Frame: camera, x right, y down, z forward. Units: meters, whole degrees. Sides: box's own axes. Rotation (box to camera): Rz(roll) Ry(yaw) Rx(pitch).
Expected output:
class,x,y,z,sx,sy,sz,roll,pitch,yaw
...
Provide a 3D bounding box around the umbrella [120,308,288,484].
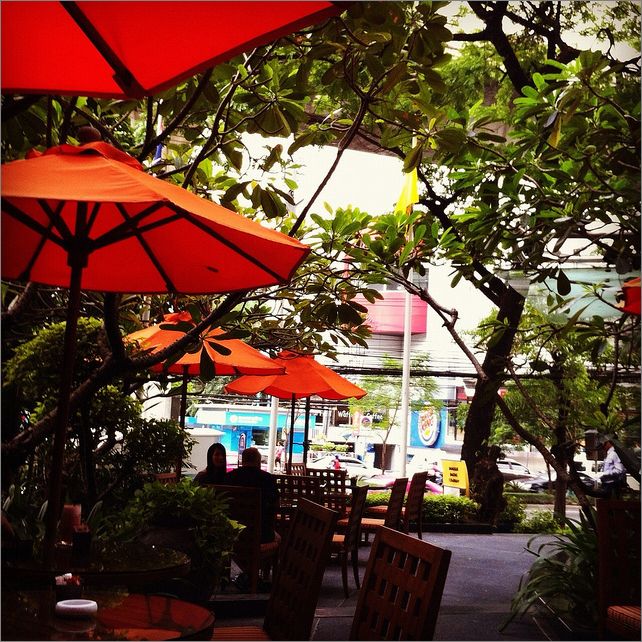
class,x,y,z,sx,sy,sz,roll,pitch,yaw
umbrella,-1.096,0.625,5.697,1.187,0.911,1.200,2,-8,7

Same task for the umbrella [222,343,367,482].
class,x,y,z,sx,sy,sz,roll,pitch,yaw
umbrella,-0.355,0.986,9.400,1.939,1.479,1.953,11,16,-1

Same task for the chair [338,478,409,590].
class,x,y,z,sx,sy,sz,roll,pitch,yaw
chair,0.667,2.972,9.250,0.611,1.054,0.630,-1,-10,19

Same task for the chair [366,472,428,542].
class,x,y,z,sx,sy,sz,roll,pitch,yaw
chair,1.226,3.028,10.020,0.724,1.130,0.661,-3,-12,23
